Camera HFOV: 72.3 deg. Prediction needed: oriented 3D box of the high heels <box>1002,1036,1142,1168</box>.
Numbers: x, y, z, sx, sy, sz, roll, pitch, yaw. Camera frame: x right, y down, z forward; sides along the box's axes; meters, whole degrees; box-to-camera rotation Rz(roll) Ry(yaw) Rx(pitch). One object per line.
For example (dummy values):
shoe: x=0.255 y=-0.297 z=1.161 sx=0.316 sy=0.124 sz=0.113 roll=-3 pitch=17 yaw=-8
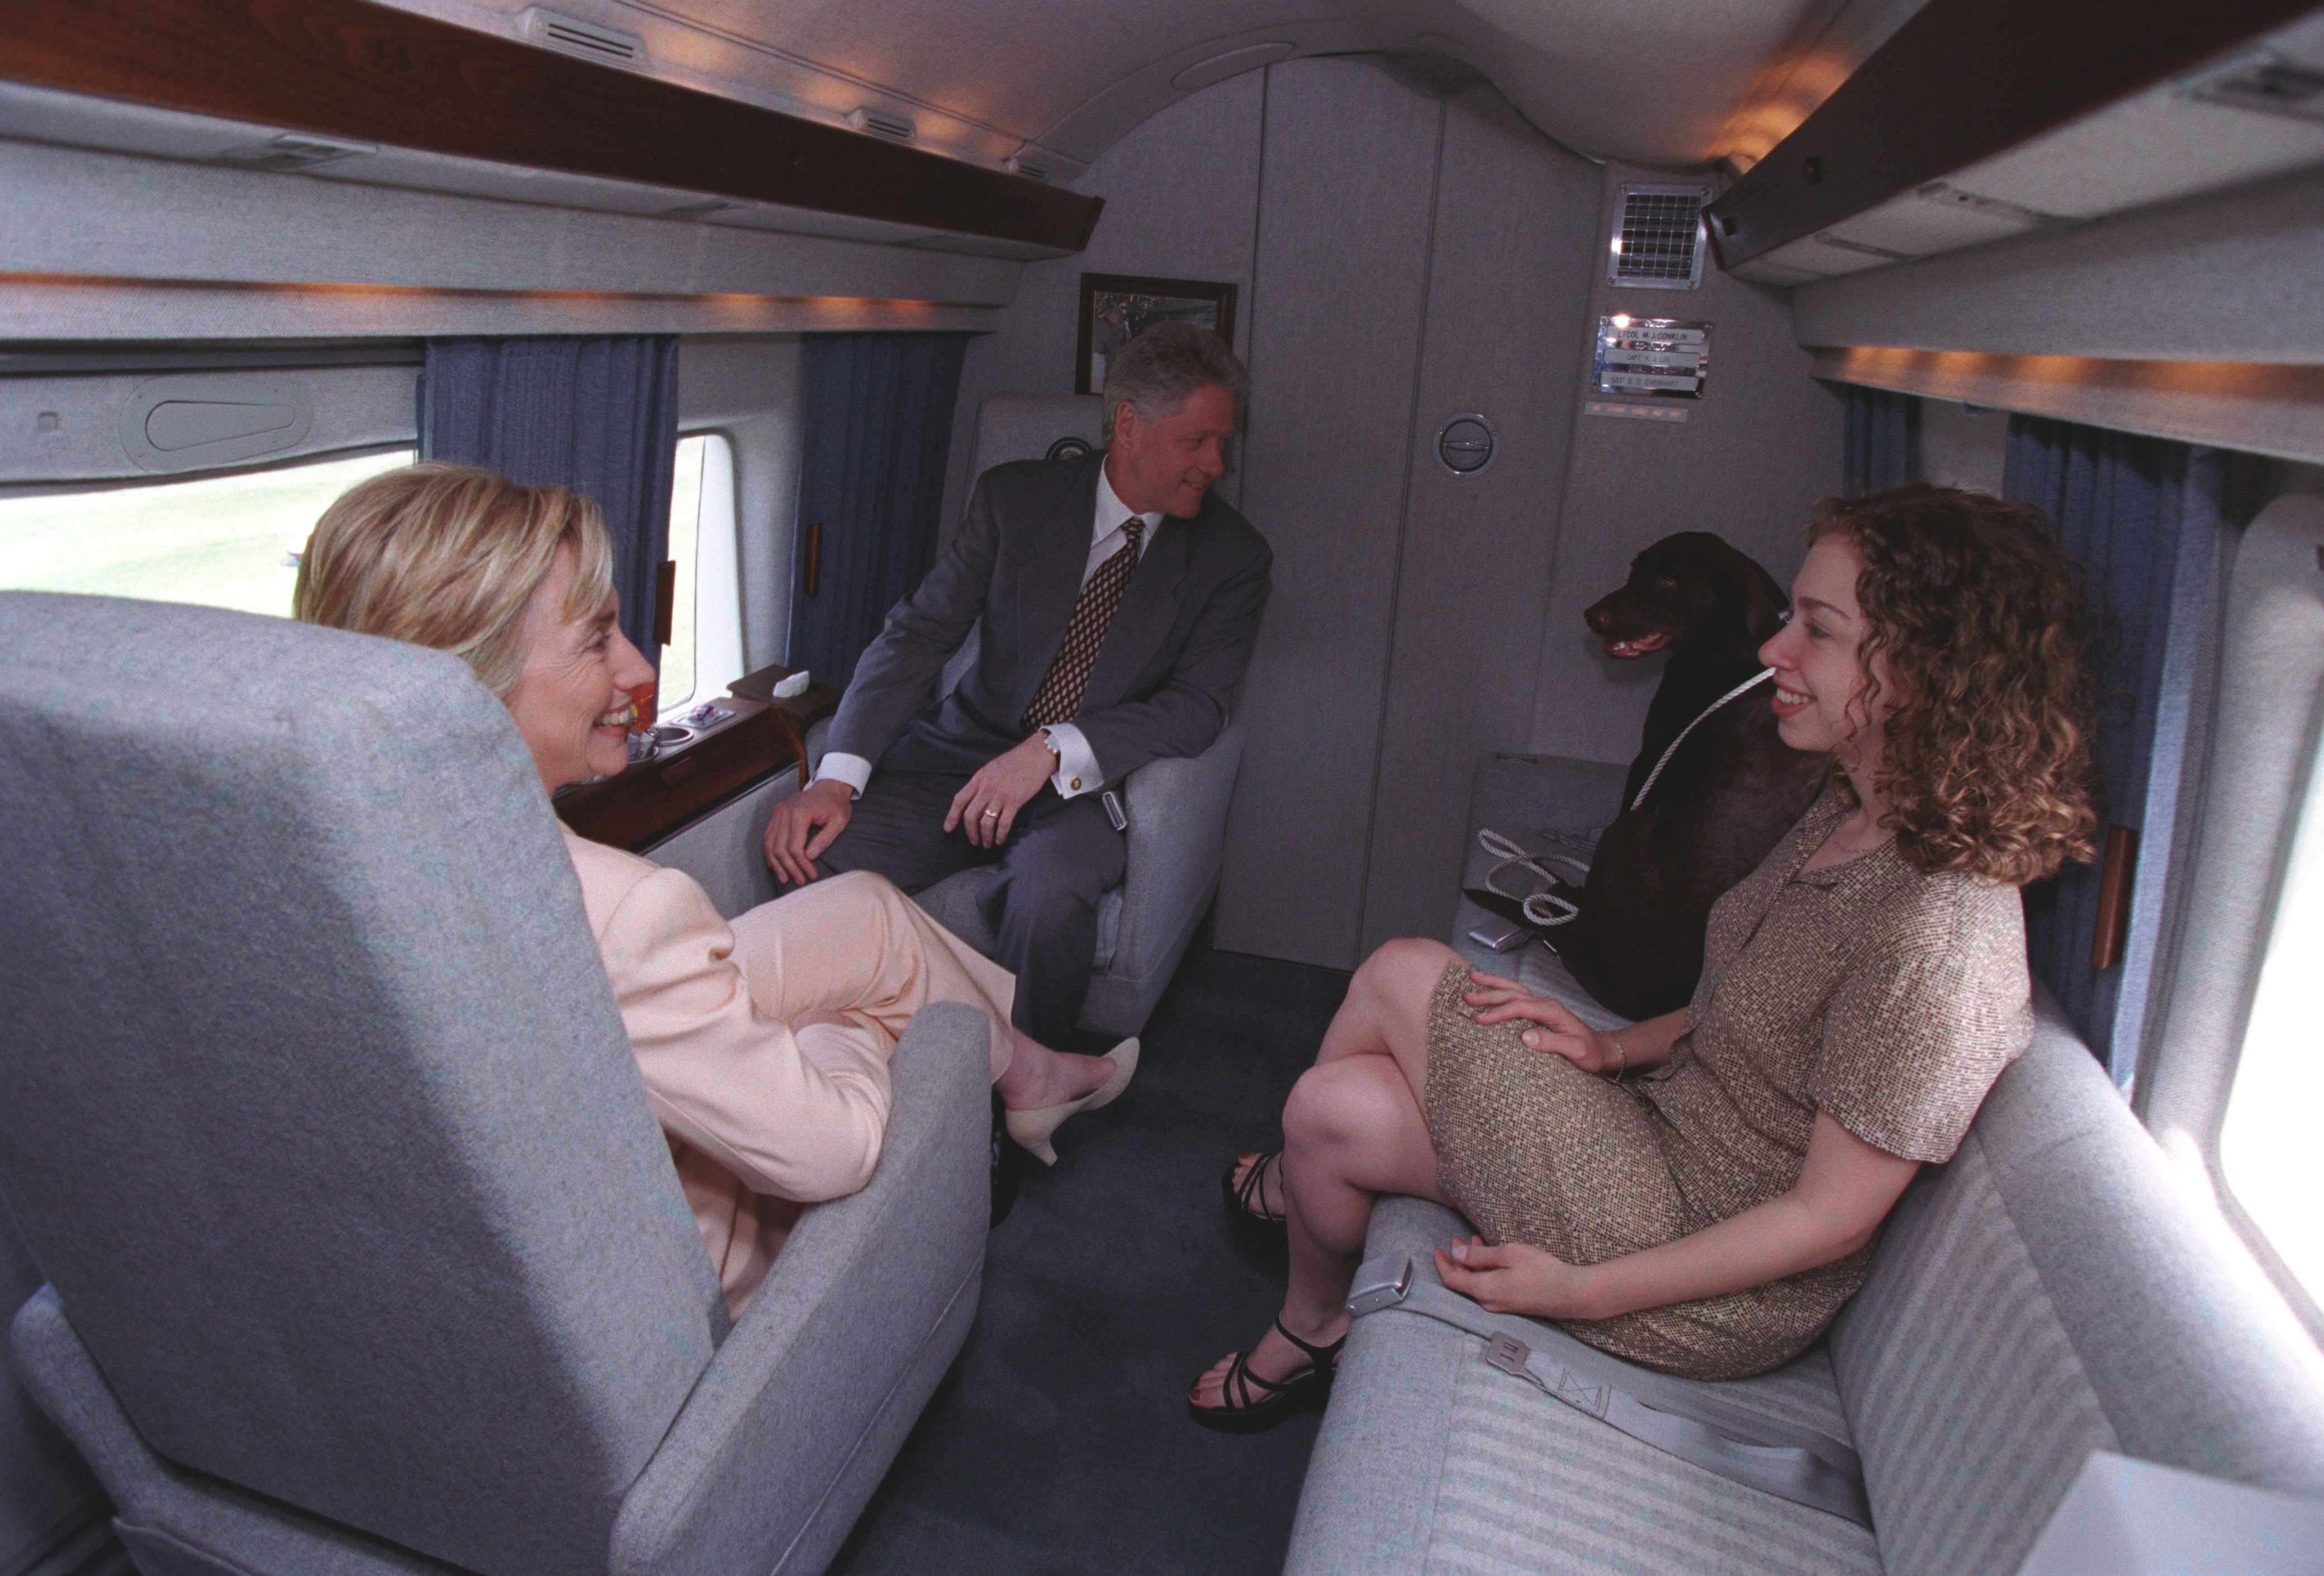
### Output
high heels: x=-0.222 y=0.752 z=3.720 sx=0.139 sy=0.187 sz=0.414 roll=12 pitch=46 yaw=36

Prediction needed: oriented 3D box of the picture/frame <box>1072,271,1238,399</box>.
picture/frame: x=-0.009 y=-1.300 z=4.517 sx=0.531 sy=0.449 sz=0.036 roll=5 pitch=14 yaw=14
